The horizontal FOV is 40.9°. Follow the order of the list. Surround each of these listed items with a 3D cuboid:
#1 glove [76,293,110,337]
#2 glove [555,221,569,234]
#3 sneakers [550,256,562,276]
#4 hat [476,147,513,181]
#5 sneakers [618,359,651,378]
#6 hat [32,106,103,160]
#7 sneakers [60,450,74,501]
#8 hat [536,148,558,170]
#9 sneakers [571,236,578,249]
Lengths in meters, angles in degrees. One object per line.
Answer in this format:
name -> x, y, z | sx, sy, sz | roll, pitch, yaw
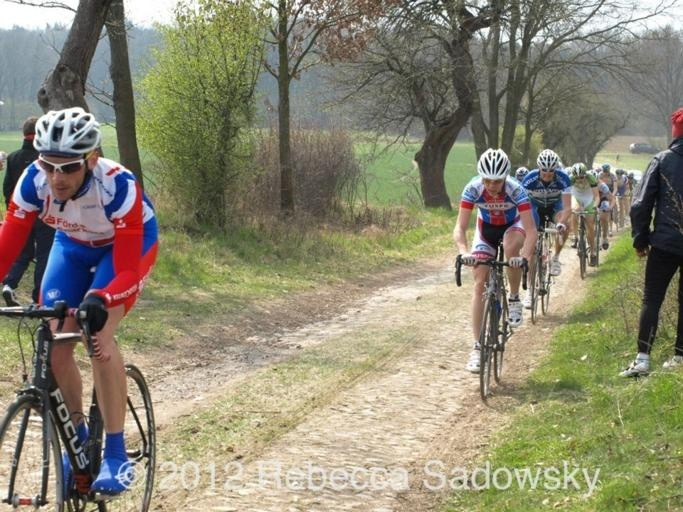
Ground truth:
glove -> -2.109, 0.486, 7.891 | 0.235, 0.337, 0.131 | 7, -26, 23
glove -> 3.458, -0.451, 14.457 | 0.145, 0.095, 0.207 | 10, -8, 2
sneakers -> 3.843, 0.182, 16.495 | 0.206, 0.247, 0.626 | 0, 14, 4
hat -> 1.883, -1.124, 11.404 | 0.300, 0.449, 0.202 | 1, -26, 10
sneakers -> 3.437, 1.319, 10.687 | 0.441, 0.226, 0.152 | -8, -11, 24
hat -> -2.414, -1.090, 8.055 | 0.550, 0.412, 0.312 | -5, 14, -14
sneakers -> -2.428, 1.934, 8.056 | 0.111, 0.318, 0.224 | 5, 3, 7
hat -> 3.386, -1.613, 15.136 | 0.262, 0.202, 0.439 | 3, 19, 3
sneakers -> 4.652, -0.264, 18.315 | 0.129, 0.170, 0.398 | 0, 5, 13
